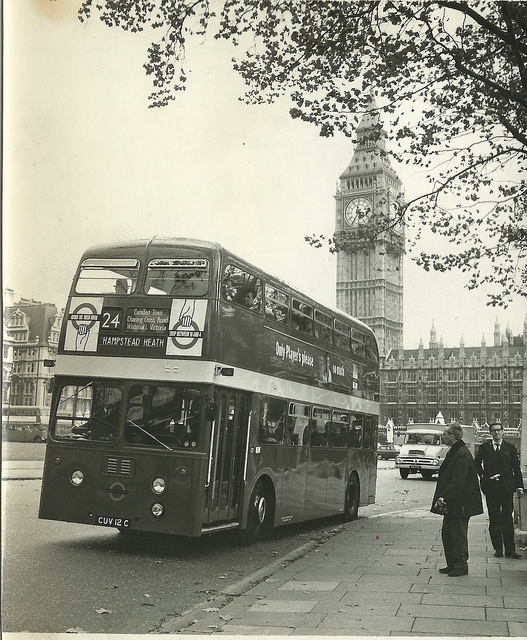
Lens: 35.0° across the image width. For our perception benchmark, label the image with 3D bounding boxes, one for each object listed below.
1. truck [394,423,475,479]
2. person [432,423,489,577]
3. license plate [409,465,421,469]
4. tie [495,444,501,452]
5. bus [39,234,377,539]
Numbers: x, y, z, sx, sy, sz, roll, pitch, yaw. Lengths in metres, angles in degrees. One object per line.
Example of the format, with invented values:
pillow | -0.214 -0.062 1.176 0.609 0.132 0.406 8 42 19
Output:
truck | 8.138 6.341 39.647 2.408 2.880 5.237 -3 -11 34
person | 2.238 2.183 9.785 0.515 1.558 0.687 -3 -7 32
license plate | 6.795 6.612 37.452 0.518 0.168 0.154 -1 -7 19
tie | 3.150 1.722 11.198 0.094 0.137 0.013 4 8 37
bus | -0.101 1.422 14.847 2.241 4.324 8.779 0 -9 24
